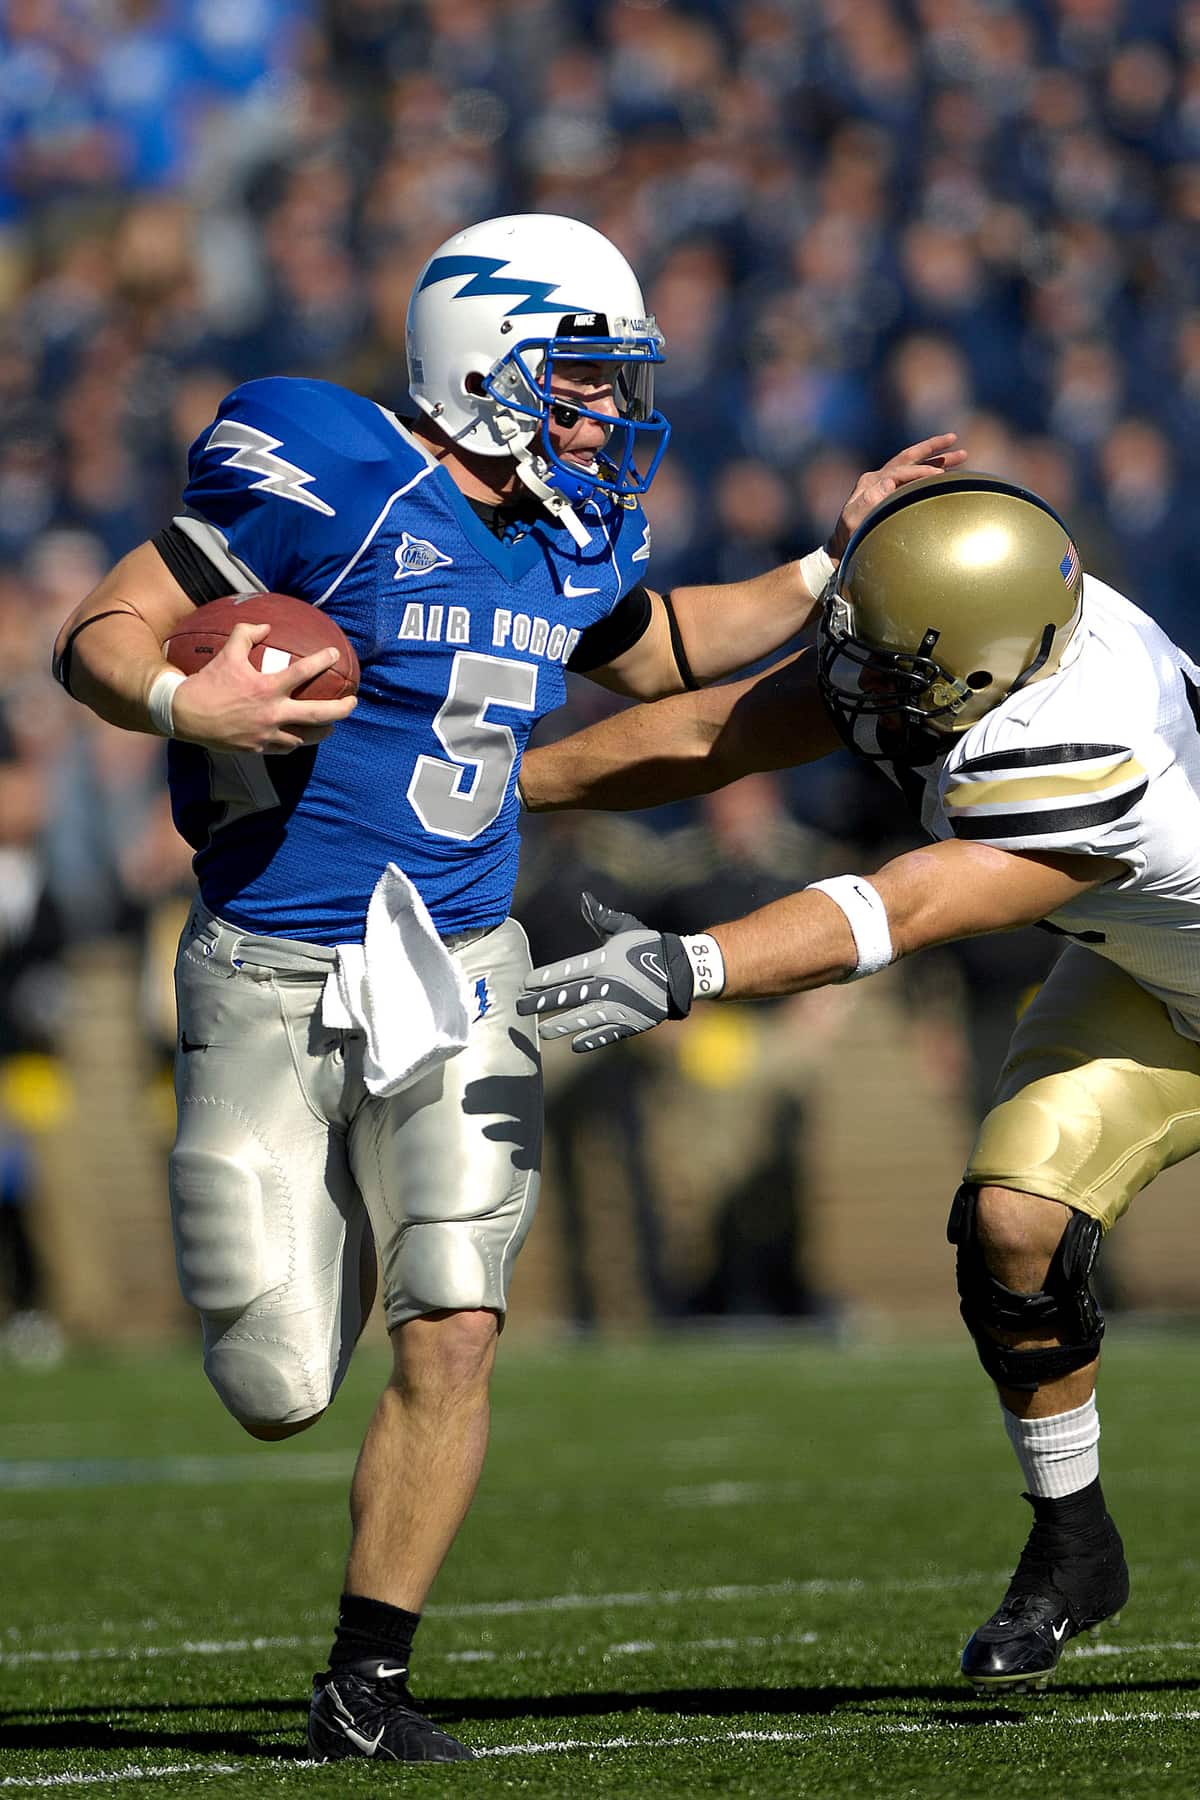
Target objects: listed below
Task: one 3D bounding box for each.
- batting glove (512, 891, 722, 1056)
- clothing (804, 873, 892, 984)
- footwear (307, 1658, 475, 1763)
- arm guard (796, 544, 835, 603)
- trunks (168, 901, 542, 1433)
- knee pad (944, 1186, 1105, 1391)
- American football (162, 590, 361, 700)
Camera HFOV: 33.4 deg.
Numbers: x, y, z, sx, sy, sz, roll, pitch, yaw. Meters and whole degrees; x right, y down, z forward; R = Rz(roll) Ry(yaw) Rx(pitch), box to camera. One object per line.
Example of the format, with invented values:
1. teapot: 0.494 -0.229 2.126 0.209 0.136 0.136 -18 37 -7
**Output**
1. batting glove: 0.004 0.063 1.806 0.161 0.096 0.195 -14 32 -25
2. clothing: 0.233 0.031 1.853 0.064 0.103 0.100 -10 32 -16
3. footwear: -0.203 0.727 1.826 0.179 0.069 0.071 4 -4 27
4. arm guard: 0.274 -0.420 2.575 0.061 0.058 0.053 4 -10 -19
5. trunks: -0.244 0.293 2.042 0.370 0.509 0.400 -1 32 -3
6. knee pad: 0.460 0.436 2.203 0.201 0.210 0.181 1 6 13
7. American football: -0.307 -0.234 1.848 0.183 0.086 0.107 7 6 14
